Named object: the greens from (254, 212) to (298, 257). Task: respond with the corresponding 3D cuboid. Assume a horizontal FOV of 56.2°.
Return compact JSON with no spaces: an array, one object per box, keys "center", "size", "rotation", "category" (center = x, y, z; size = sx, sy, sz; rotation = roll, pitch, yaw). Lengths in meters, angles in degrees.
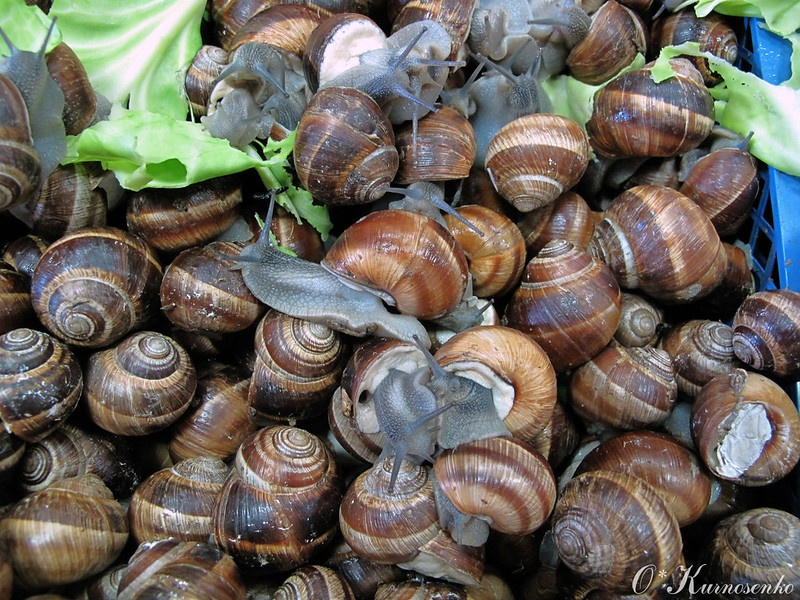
[{"center":[-0.509,-0.238,3.052],"size":[0.132,0.063,0.203],"rotation":[-36,97,-29],"category":"greens"}]
